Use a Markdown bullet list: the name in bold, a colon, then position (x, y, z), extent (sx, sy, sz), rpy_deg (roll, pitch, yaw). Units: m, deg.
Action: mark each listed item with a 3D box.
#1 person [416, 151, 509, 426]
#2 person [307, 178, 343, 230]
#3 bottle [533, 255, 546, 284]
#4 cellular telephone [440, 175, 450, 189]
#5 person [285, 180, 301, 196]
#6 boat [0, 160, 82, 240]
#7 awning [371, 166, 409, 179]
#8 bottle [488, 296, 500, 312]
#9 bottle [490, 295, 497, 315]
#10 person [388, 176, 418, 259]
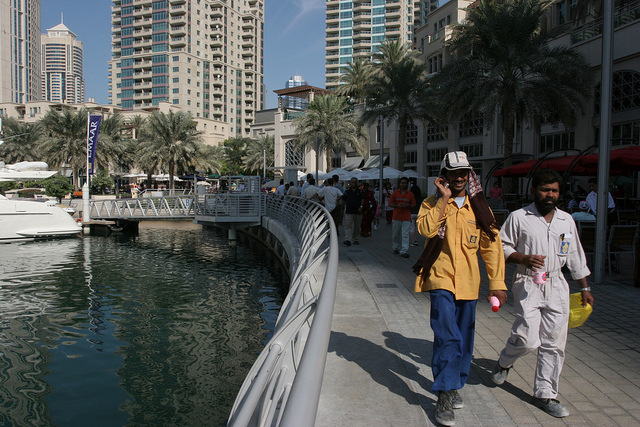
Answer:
- **person**: position (1.505, 0.732, 5.147), extent (0.928, 2.815, 0.714), rpy_deg (-2, 5, -28)
- **person**: position (0.314, -0.476, 16.241), extent (0.798, 1.521, 2.225), rpy_deg (1, 5, 1)
- **bottle**: position (2.479, 0.691, 5.215), extent (0.141, 0.194, 0.053), rpy_deg (0, 5, -8)
- **cellular telephone**: position (1.413, -0.356, 5.236), extent (0.034, 0.148, 0.105), rpy_deg (-8, 5, 43)
- **person**: position (-1.454, -1.489, 23.845), extent (0.678, 0.933, 1.246), rpy_deg (-6, 7, -4)
- **boat**: position (-21.815, -1.118, 33.113), extent (8.920, 5.190, 4.046), rpy_deg (5, 7, 43)
- **awning**: position (4.674, -2.776, 31.599), extent (1.854, 0.477, 1.919), rpy_deg (1, 1, 19)
- **bottle**: position (1.926, 1.014, 5.116), extent (0.104, 0.220, 0.383), rpy_deg (2, 5, 20)
- **bottle**: position (1.897, 0.989, 5.064), extent (0.069, 0.179, 0.271), rpy_deg (1, 5, 11)
- **person**: position (2.409, 0.102, 13.884), extent (0.797, 2.355, 0.681), rpy_deg (5, 6, 40)
